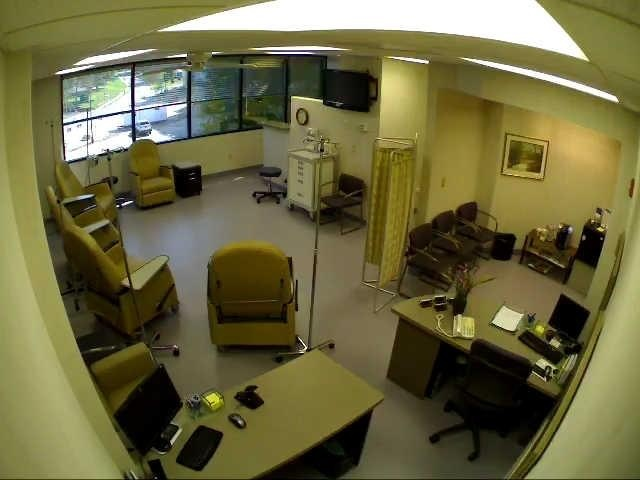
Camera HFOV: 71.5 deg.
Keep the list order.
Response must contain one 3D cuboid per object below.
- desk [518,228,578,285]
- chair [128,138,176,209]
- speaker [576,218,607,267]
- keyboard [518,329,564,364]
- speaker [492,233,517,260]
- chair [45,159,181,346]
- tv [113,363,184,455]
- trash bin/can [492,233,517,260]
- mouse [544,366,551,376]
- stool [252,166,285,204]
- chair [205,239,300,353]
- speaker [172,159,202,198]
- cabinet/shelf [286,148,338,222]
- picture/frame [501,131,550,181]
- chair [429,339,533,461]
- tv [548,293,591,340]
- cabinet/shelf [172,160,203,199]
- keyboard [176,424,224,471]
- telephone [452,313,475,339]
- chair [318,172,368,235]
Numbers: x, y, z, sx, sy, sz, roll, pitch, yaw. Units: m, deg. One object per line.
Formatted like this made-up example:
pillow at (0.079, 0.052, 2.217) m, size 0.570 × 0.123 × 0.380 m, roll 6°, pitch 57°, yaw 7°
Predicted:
desk at (3.835, 0.201, 7.486) m, size 0.419 × 0.638 × 0.721 m, roll -33°, pitch 42°, yaw -31°
chair at (-3.556, -1.349, 9.283) m, size 0.874 × 1.355 × 0.871 m, roll 14°, pitch 25°, yaw 34°
speaker at (4.120, 0.087, 6.713) m, size 0.369 × 0.619 × 0.385 m, roll -14°, pitch 24°, yaw -31°
keyboard at (2.232, 1.088, 4.496) m, size 0.203 × 0.094 × 0.304 m, roll -13°, pitch 41°, yaw -44°
speaker at (3.221, 0.128, 7.809) m, size 0.348 × 0.453 × 0.307 m, roll 2°, pitch 19°, yaw -4°
chair at (-2.911, 0.149, 6.209) m, size 0.890 × 1.078 × 2.572 m, roll -19°, pitch 50°, yaw -30°
tv at (-1.297, 1.280, 3.317) m, size 0.123 × 0.405 × 0.399 m, roll -6°, pitch 36°, yaw 28°
trash bin/can at (3.222, 0.130, 7.808) m, size 0.352 × 0.465 × 0.314 m, roll 2°, pitch 17°, yaw 0°
mouse at (2.161, 1.240, 4.200) m, size 0.061 × 0.018 × 0.115 m, roll 10°, pitch 24°, yaw 25°
stool at (-1.127, -1.222, 10.137) m, size 0.804 × 0.846 × 0.940 m, roll -2°, pitch 53°, yaw -9°
chair at (-0.736, 0.470, 5.186) m, size 0.989 × 1.472 × 1.211 m, roll 1°, pitch 39°, yaw -2°
speaker at (-2.964, -1.316, 9.928) m, size 0.553 × 0.677 × 0.589 m, roll -10°, pitch 17°, yaw -27°
cabinet/shelf at (-0.150, -1.078, 8.675) m, size 0.956 × 1.521 × 1.074 m, roll -10°, pitch 26°, yaw -37°
picture/frame at (3.524, -1.443, 7.556) m, size 0.660 × 0.721 × 0.034 m, roll 19°, pitch 27°, yaw 30°
chair at (1.630, 1.441, 4.385) m, size 0.769 × 1.192 × 0.682 m, roll -6°, pitch 28°, yaw -41°
tv at (2.576, 0.809, 4.589) m, size 0.093 × 0.393 × 0.400 m, roll 1°, pitch 28°, yaw -35°
cabinet/shelf at (-2.940, -1.339, 9.914) m, size 0.500 × 0.661 × 0.510 m, roll 23°, pitch 32°, yaw 30°
keyboard at (-0.862, 1.503, 3.196) m, size 0.236 × 0.061 × 0.329 m, roll 7°, pitch 23°, yaw 17°
telephone at (1.529, 0.911, 4.703) m, size 0.235 × 0.098 × 0.396 m, roll 7°, pitch 23°, yaw 17°
chair at (0.417, -0.769, 8.862) m, size 0.740 × 0.951 × 1.037 m, roll -17°, pitch 26°, yaw -36°
